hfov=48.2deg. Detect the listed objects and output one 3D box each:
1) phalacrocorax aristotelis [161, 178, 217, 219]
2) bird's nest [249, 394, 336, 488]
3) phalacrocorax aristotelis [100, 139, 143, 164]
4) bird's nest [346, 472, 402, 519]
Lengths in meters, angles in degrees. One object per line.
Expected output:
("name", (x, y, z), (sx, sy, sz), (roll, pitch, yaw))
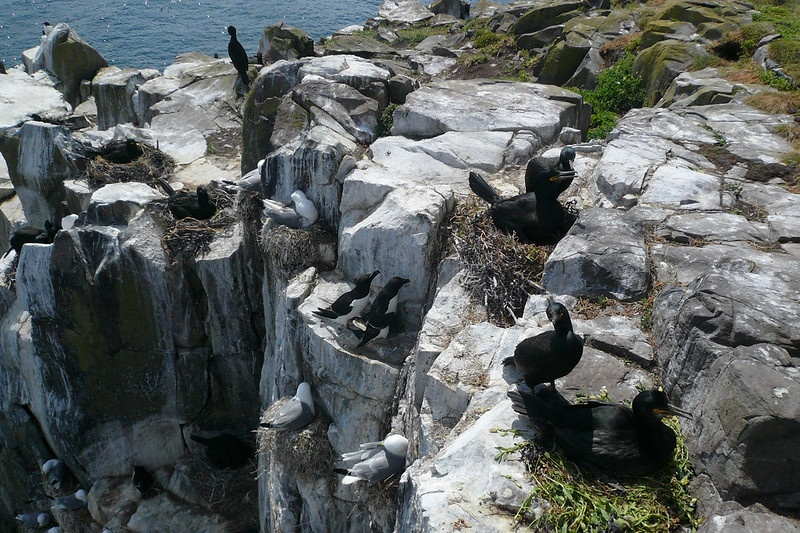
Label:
("phalacrocorax aristotelis", (-4.776, -1.510, 20.203), (0.888, 0.654, 0.459), (39, 44, 2))
("bird's nest", (-1.944, 3.558, 18.203), (1.367, 0.665, 1.552), (29, 63, 4))
("phalacrocorax aristotelis", (-6.750, -2.760, 21.584), (0.796, 0.559, 0.202), (-7, -13, -11))
("bird's nest", (-0.374, 4.322, 17.362), (0.820, 0.777, 0.363), (0, 2, 10))
